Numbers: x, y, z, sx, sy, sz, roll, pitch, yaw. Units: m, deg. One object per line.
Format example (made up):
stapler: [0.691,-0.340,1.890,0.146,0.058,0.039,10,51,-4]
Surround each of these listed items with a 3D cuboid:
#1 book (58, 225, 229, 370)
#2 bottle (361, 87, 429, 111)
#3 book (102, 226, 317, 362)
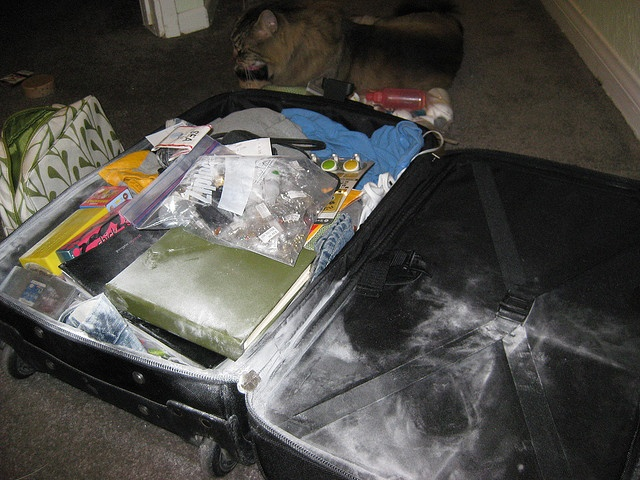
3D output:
book: [-0.506,0.093,1.344,0.306,0.080,0.323,29,31,10]
bottle: [0.290,-0.524,1.983,0.206,0.089,0.106,5,19,7]
book: [-0.259,0.104,1.196,0.290,0.074,0.304,25,53,21]
